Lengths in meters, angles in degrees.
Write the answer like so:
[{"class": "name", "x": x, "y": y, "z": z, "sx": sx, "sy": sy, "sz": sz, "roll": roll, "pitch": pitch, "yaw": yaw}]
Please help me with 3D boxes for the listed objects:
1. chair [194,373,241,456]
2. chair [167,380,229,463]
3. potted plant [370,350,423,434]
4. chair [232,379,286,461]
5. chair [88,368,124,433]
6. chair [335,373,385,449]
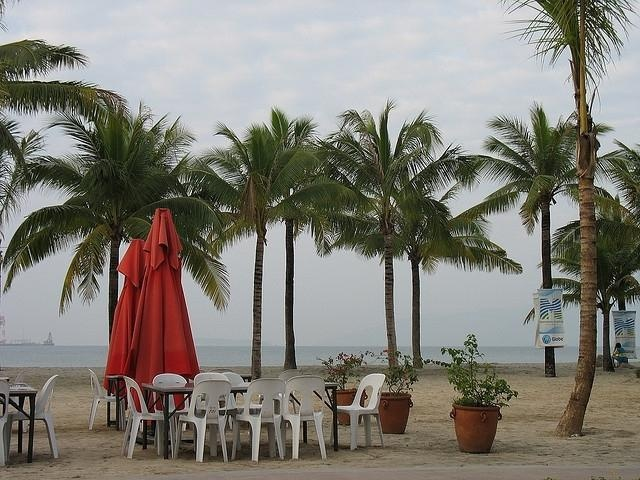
[{"class": "chair", "x": -2.212, "y": 3.671, "z": 24.830, "sx": 0.783, "sy": 1.487, "sz": 1.020, "roll": 2, "pitch": 14, "yaw": -7}, {"class": "chair", "x": -2.492, "y": 3.855, "z": 24.495, "sx": 1.161, "sy": 1.677, "sz": 1.795, "roll": 0, "pitch": -8, "yaw": -8}, {"class": "potted plant", "x": 1.703, "y": 3.423, "z": 25.986, "sx": 0.690, "sy": 1.801, "sz": 0.937, "roll": 5, "pitch": 1, "yaw": 7}, {"class": "chair", "x": -1.357, "y": 3.865, "z": 24.820, "sx": 1.048, "sy": 1.726, "sz": 2.024, "roll": 0, "pitch": -8, "yaw": -8}, {"class": "chair", "x": -4.914, "y": 3.638, "z": 26.435, "sx": 0.784, "sy": 1.271, "sz": 0.765, "roll": 4, "pitch": 0, "yaw": -4}, {"class": "chair", "x": 0.936, "y": 3.677, "z": 25.034, "sx": 0.880, "sy": 1.556, "sz": 0.922, "roll": -1, "pitch": -1, "yaw": 0}]
